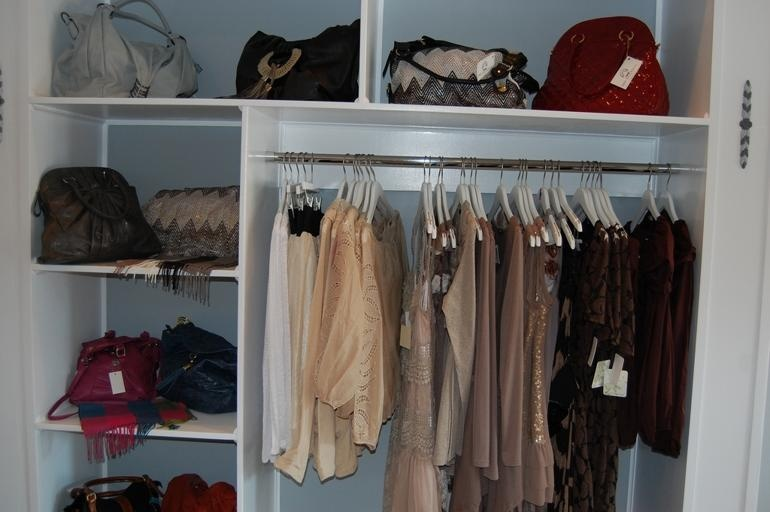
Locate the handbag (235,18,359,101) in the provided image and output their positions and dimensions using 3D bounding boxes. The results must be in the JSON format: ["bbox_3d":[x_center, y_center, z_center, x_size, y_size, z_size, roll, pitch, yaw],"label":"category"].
[{"bbox_3d":[-0.431,-0.905,3.300,0.407,0.213,0.583,1,-2,-7],"label":"handbag"}]

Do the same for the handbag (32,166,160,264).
[{"bbox_3d":[-1.238,-0.152,3.217,0.254,0.487,0.494,-13,-6,44],"label":"handbag"}]

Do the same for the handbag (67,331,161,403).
[{"bbox_3d":[-1.187,0.548,3.339,0.368,0.318,0.227,4,-17,-11],"label":"handbag"}]

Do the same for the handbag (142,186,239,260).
[{"bbox_3d":[-0.839,-0.148,3.278,0.313,0.370,0.093,2,-14,11],"label":"handbag"}]
